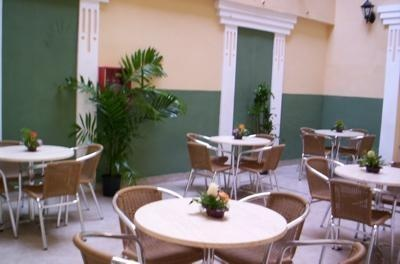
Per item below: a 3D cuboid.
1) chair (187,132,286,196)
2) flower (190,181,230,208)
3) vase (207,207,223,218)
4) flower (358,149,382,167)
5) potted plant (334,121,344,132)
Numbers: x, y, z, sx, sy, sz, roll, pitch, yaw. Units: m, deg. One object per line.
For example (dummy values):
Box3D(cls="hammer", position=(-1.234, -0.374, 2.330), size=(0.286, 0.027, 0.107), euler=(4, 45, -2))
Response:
Box3D(cls="chair", position=(0.574, 0.849, 7.215), size=(1.433, 1.119, 1.452), euler=(1, 8, -21))
Box3D(cls="flower", position=(0.132, 0.663, 3.385), size=(0.330, 0.264, 0.345), euler=(0, -7, -28))
Box3D(cls="vase", position=(0.153, 0.808, 3.322), size=(0.119, 0.058, 0.103), euler=(3, -1, -2))
Box3D(cls="flower", position=(2.510, 0.393, 4.942), size=(0.264, 0.280, 0.263), euler=(-6, 10, -37))
Box3D(cls="potted plant", position=(3.491, -0.131, 8.319), size=(0.221, 0.263, 0.227), euler=(-1, 2, -12))
